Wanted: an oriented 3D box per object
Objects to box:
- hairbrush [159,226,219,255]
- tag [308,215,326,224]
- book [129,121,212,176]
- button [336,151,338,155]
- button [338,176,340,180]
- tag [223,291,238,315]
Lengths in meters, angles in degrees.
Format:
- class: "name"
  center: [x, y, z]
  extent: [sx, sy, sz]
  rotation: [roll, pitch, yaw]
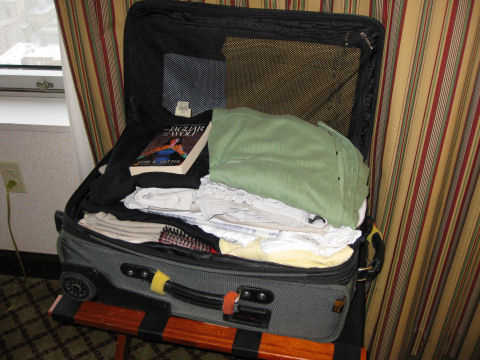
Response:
- class: "hairbrush"
  center: [-0.132, 0.160, 0.999]
  extent: [0.118, 0.041, 0.030]
  rotation: [21, -2, 7]
- class: "tag"
  center: [0.193, 0.103, 0.976]
  extent: [0.023, 0.006, 0.025]
  rotation: [-1, 33, 6]
- class: "book"
  center: [-0.197, -0.105, 1.149]
  extent: [0.177, 0.044, 0.186]
  rotation: [-3, 42, 26]
- class: "button"
  center: [0.266, -0.074, 1.050]
  extent: [0.006, 0.006, 0.013]
  rotation: [8, 25, 9]
- class: "button"
  center: [0.259, -0.005, 1.008]
  extent: [0.006, 0.003, 0.009]
  rotation: [0, 65, 2]
- class: "tag"
  center: [-0.028, 0.309, 0.958]
  extent: [0.036, 0.048, 0.052]
  rotation: [-1, 58, 15]
